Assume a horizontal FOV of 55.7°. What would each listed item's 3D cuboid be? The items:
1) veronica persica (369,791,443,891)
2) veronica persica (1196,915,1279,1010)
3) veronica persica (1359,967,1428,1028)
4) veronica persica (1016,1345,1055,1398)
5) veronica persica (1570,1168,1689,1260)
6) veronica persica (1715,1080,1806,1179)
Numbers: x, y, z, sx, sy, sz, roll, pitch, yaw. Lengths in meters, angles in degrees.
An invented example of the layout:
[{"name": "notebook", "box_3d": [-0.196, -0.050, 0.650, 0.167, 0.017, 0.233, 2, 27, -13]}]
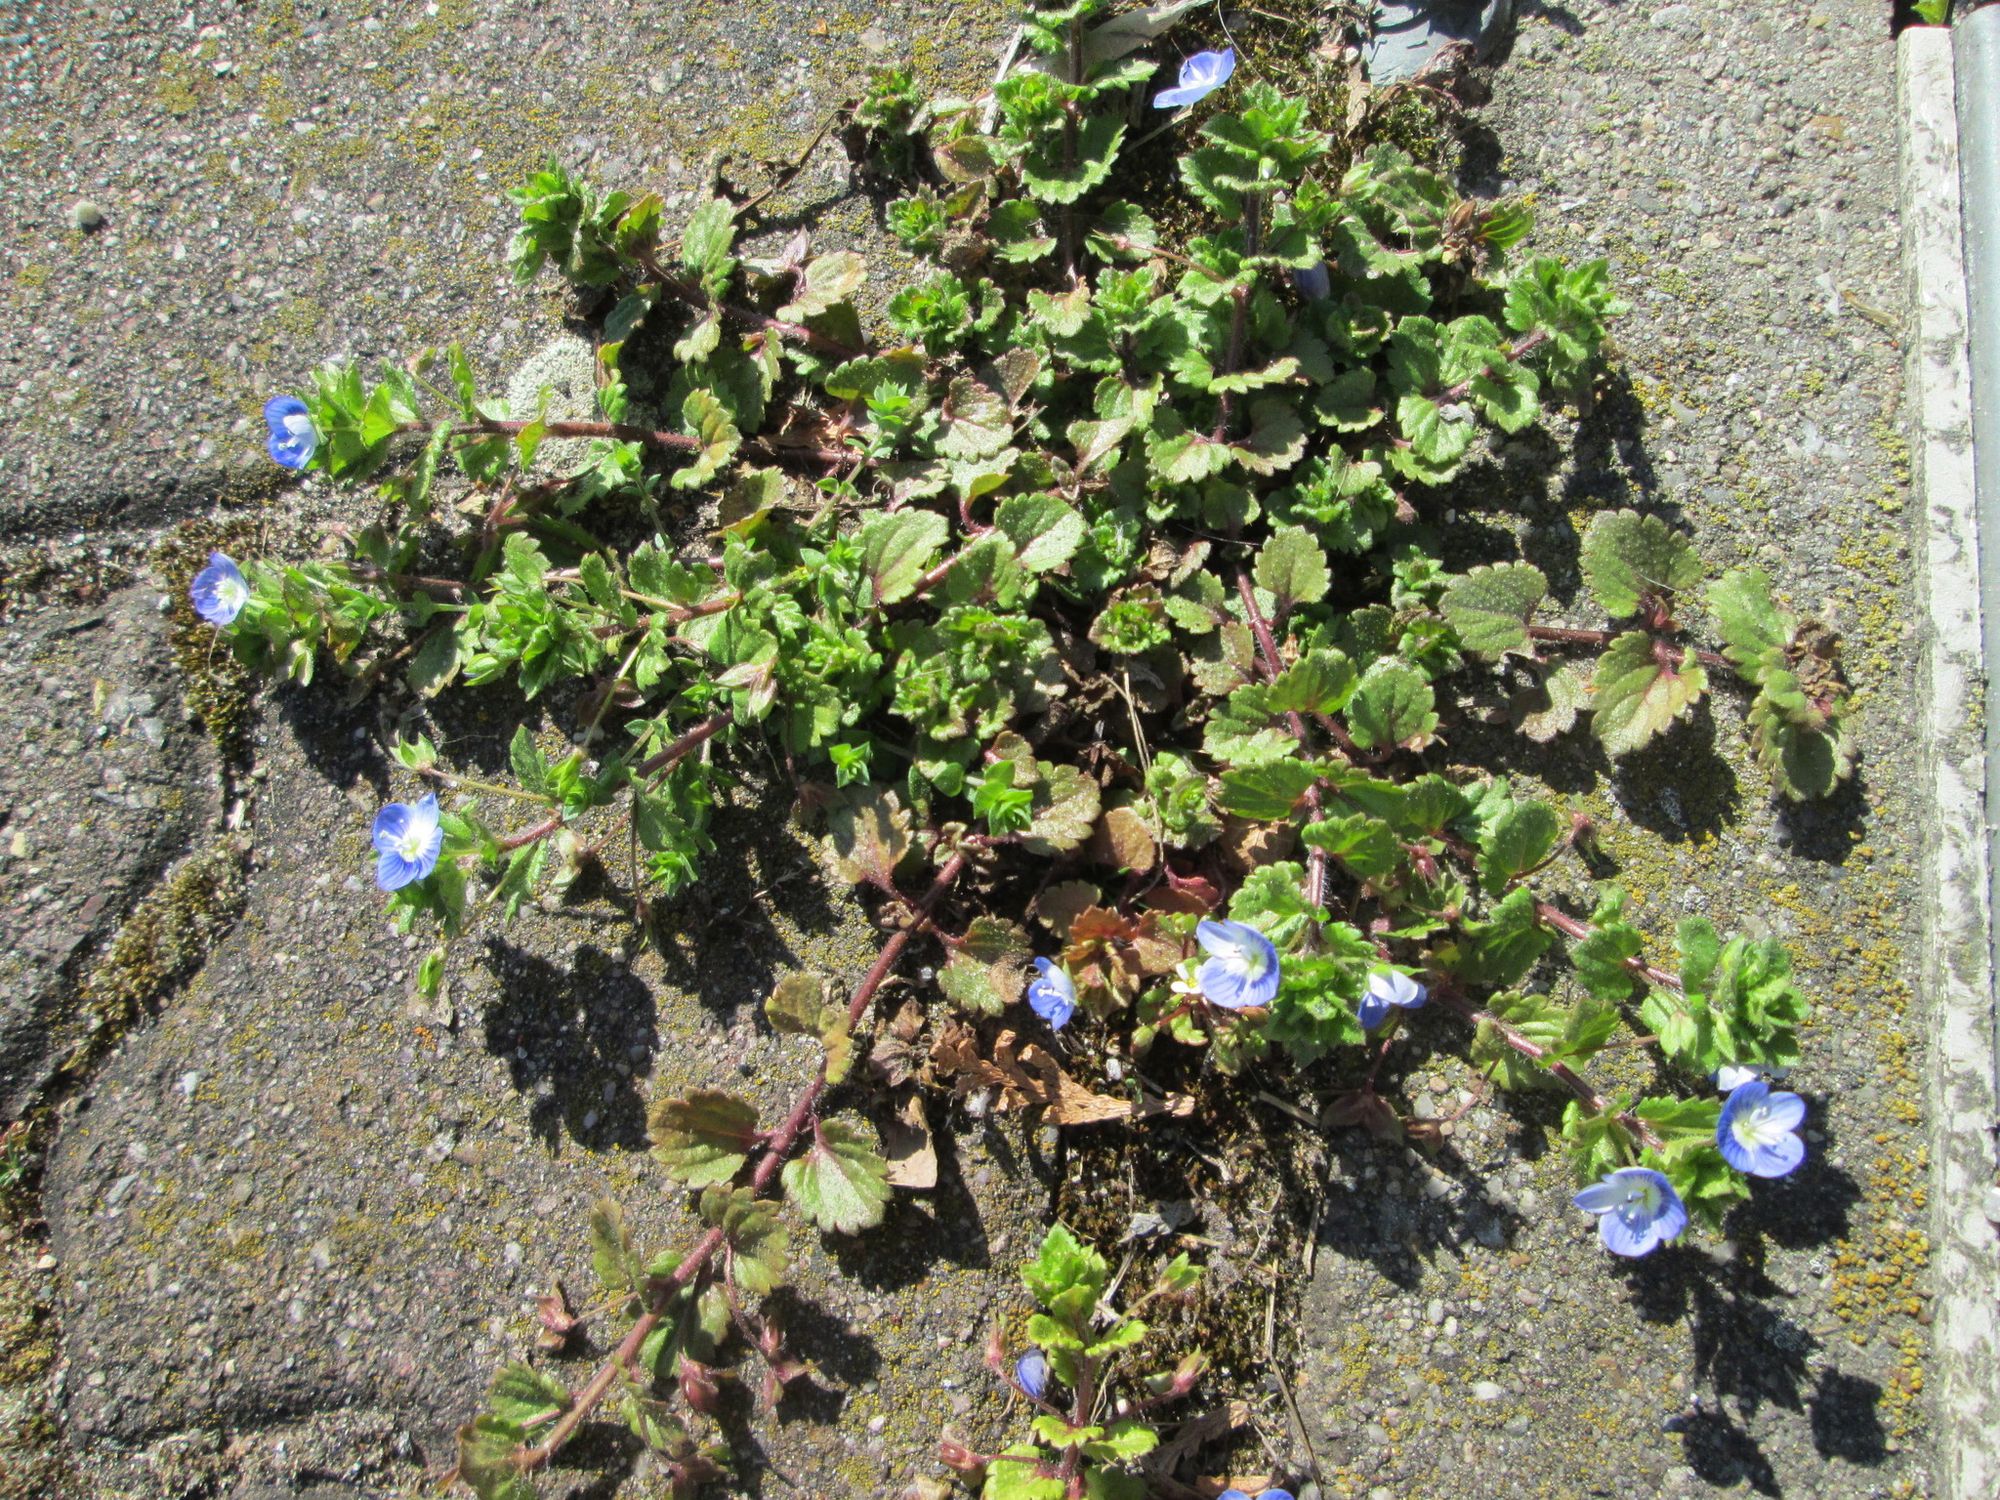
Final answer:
[{"name": "veronica persica", "box_3d": [-1.433, 0.241, 4.695, 0.203, 0.084, 0.219, 9, 79, 23]}, {"name": "veronica persica", "box_3d": [0.553, 0.482, 4.417, 0.181, 0.117, 0.193, -37, 75, 17]}, {"name": "veronica persica", "box_3d": [0.899, 0.594, 4.451, 0.083, 0.157, 0.154, 54, 128, 48]}, {"name": "veronica persica", "box_3d": [0.083, 1.520, 4.595, 0.081, 0.128, 0.117, -2, 76, 4]}, {"name": "veronica persica", "box_3d": [1.455, 1.063, 4.391, 0.220, 0.143, 0.215, 5, 95, 12]}, {"name": "veronica persica", "box_3d": [1.723, 0.860, 4.394, 0.205, 0.231, 0.125, 4, 108, 21]}]
